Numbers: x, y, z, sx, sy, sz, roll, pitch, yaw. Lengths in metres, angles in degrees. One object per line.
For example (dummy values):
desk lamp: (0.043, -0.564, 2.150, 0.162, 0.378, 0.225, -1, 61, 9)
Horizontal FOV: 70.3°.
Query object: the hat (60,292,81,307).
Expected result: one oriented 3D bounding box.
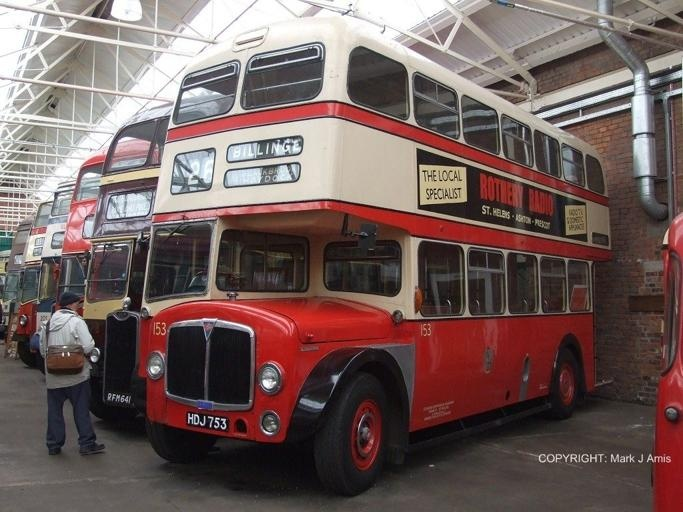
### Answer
hat: (-3.886, 0.611, 6.959, 0.229, 0.165, 0.218, -1, 0, -38)
